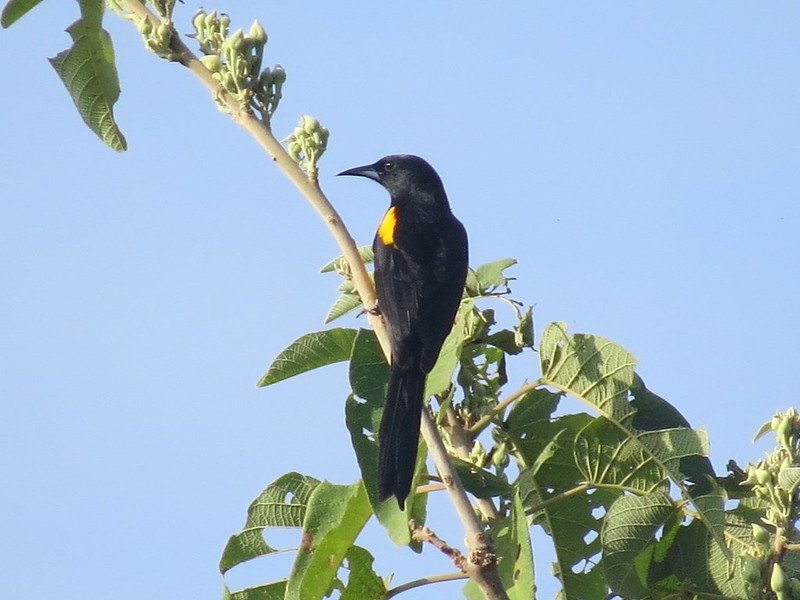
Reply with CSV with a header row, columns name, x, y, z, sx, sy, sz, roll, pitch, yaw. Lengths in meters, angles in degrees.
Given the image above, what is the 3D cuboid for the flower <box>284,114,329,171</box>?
name,x,y,z,sx,sy,sz,roll,pitch,yaw
flower,-0.450,-0.740,6.720,0.168,0.148,0.330,-17,-46,-46

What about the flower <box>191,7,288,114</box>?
name,x,y,z,sx,sy,sz,roll,pitch,yaw
flower,-0.820,-1.236,6.764,0.510,0.453,0.348,18,-52,-16

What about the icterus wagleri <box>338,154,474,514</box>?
name,x,y,z,sx,sy,sz,roll,pitch,yaw
icterus wagleri,0.077,0.086,7.082,0.573,2.183,0.543,-9,-49,8
